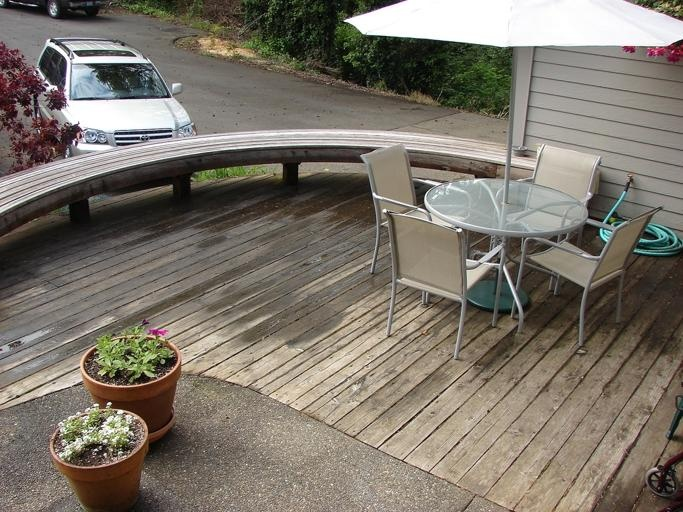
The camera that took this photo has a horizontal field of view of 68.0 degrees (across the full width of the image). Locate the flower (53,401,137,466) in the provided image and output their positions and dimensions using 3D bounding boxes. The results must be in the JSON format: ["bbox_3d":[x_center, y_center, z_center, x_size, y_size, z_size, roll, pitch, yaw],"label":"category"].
[{"bbox_3d":[-1.243,0.930,2.625,0.341,0.099,0.360,24,31,33],"label":"flower"}]

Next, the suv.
[{"bbox_3d":[-3.470,-2.502,7.620,2.019,1.264,2.875,-17,39,-29],"label":"suv"}]
